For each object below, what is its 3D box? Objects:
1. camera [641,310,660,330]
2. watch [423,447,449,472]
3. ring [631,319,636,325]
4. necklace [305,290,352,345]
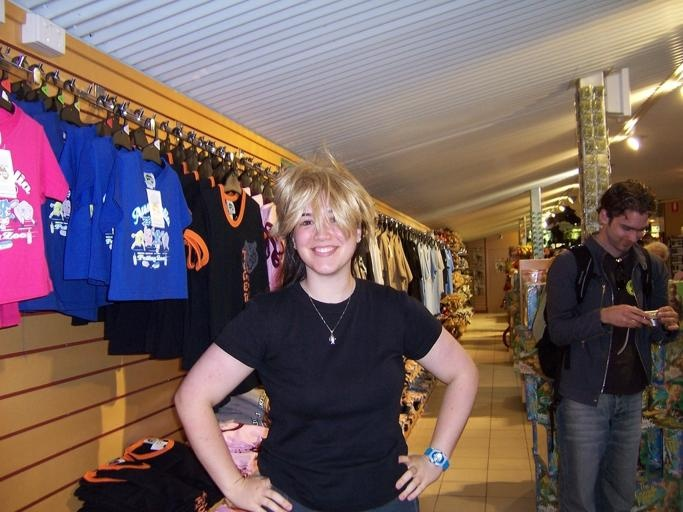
[{"bbox_3d":[1.553,0.320,2.333,0.087,0.085,0.089,0,-3,-6],"label":"camera"},{"bbox_3d":[0.313,0.662,1.558,0.077,0.032,0.082,43,5,25],"label":"watch"},{"bbox_3d":[1.442,0.328,2.286,0.014,0.018,0.005,-13,5,41],"label":"ring"},{"bbox_3d":[-0.043,0.200,1.465,0.159,0.166,0.015,4,-25,-9],"label":"necklace"}]
